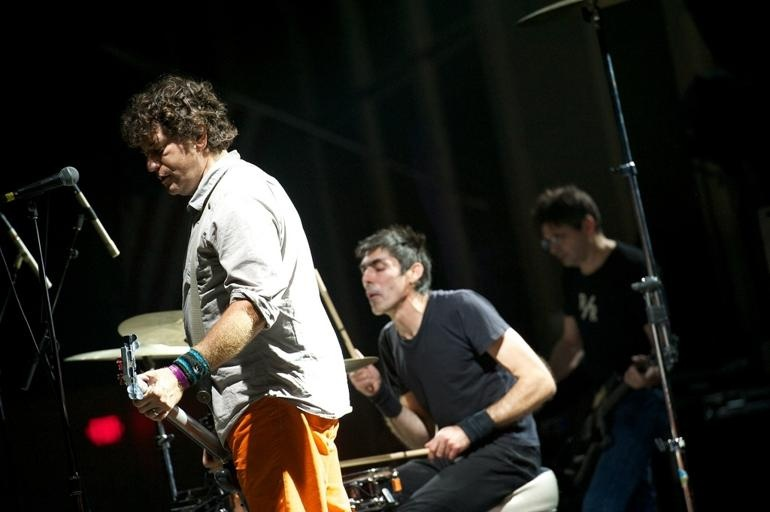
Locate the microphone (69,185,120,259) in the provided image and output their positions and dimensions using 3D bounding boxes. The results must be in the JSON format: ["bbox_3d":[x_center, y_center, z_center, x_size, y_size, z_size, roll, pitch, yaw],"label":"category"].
[{"bbox_3d":[-1.932,-0.207,5.174,0.077,0.549,0.088,-33,-4,18],"label":"microphone"}]

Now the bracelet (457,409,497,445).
[{"bbox_3d":[0.510,0.948,4.292,0.198,0.163,0.080,-15,-17,2],"label":"bracelet"}]

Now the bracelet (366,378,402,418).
[{"bbox_3d":[-0.009,0.904,4.884,0.082,0.179,0.232,-27,7,-12],"label":"bracelet"}]

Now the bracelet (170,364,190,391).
[{"bbox_3d":[-0.891,0.521,3.396,0.059,0.110,0.084,-27,-22,39],"label":"bracelet"}]

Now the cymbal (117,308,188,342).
[{"bbox_3d":[-1.418,0.447,4.836,0.295,0.087,0.309,-2,5,0],"label":"cymbal"}]

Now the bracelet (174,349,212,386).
[{"bbox_3d":[-0.835,0.486,3.446,0.154,0.135,0.110,5,41,31],"label":"bracelet"}]
